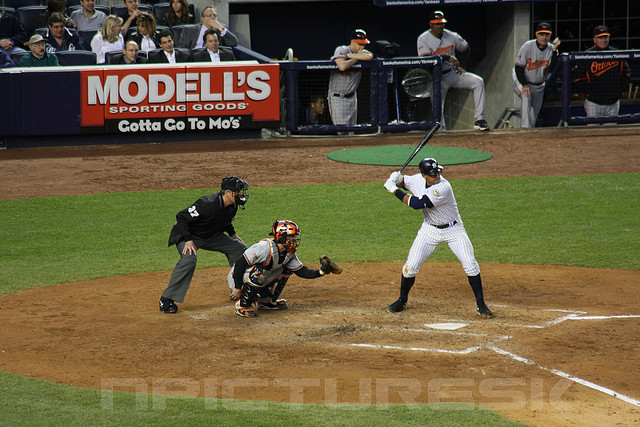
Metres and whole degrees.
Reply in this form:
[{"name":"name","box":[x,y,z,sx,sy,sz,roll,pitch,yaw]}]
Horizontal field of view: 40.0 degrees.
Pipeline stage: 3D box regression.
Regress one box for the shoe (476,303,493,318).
[{"name":"shoe","box":[2.368,1.401,12.721,0.124,0.170,0.300,-9,7,-32]}]

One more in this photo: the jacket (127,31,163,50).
[{"name":"jacket","box":[-4.396,-4.258,21.626,0.853,0.427,0.463,1,9,3]}]

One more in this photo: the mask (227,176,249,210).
[{"name":"mask","box":[-1.215,-0.314,13.021,0.279,0.496,0.609,1,9,0]}]

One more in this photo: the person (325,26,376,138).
[{"name":"person","box":[0.673,-3.233,21.544,1.127,2.438,0.535,1,10,-1]}]

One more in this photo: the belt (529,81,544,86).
[{"name":"belt","box":[5.413,-3.267,22.112,0.308,0.075,0.026,2,10,10]}]

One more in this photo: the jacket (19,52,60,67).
[{"name":"jacket","box":[-6.593,-3.562,20.474,0.603,0.181,0.436,1,3,15]}]

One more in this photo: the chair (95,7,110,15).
[{"name":"chair","box":[-5.767,-5.389,23.350,0.219,0.178,0.204,-8,22,-20]}]

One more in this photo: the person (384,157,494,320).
[{"name":"person","box":[1.662,0.341,12.846,1.498,2.268,0.619,1,10,2]}]

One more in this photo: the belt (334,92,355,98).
[{"name":"belt","box":[0.587,-2.911,21.503,0.507,0.123,0.052,-1,10,-13]}]

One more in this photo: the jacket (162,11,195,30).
[{"name":"jacket","box":[-3.789,-5.053,23.001,0.754,0.398,0.522,4,10,11]}]

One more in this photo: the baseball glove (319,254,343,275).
[{"name":"baseball glove","box":[0.129,0.745,12.845,0.287,0.308,0.336,-1,10,-10]}]

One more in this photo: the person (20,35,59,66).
[{"name":"person","box":[-6.557,-3.728,20.564,0.990,0.713,0.485,0,0,-22]}]

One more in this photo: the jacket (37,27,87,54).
[{"name":"jacket","box":[-6.269,-4.143,21.083,0.976,0.639,0.467,-8,0,-23]}]

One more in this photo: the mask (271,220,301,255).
[{"name":"mask","box":[-0.529,0.307,12.721,0.476,0.411,0.353,9,7,23]}]

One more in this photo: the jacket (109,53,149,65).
[{"name":"jacket","box":[-4.576,-3.696,20.967,0.923,0.271,0.321,-1,10,-12]}]

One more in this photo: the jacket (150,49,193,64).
[{"name":"jacket","box":[-3.575,-3.765,21.079,1.027,0.345,0.505,-1,9,-13]}]

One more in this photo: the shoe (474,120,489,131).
[{"name":"shoe","box":[4.180,-2.308,22.821,0.311,0.278,0.483,-1,9,-8]}]

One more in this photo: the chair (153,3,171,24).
[{"name":"chair","box":[-4.282,-5.360,23.480,0.609,0.651,0.583,-1,18,-6]}]

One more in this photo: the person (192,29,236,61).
[{"name":"person","box":[-2.668,-4.066,21.643,1.318,0.862,0.593,-5,11,-22]}]

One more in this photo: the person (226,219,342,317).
[{"name":"person","box":[-0.499,0.787,12.924,1.644,1.237,0.942,1,2,-12]}]

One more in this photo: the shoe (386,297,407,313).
[{"name":"shoe","box":[1.139,1.341,13.035,0.137,0.146,0.381,29,23,30]}]

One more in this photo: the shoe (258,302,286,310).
[{"name":"shoe","box":[-0.740,1.389,13.221,0.382,0.147,0.138,0,2,3]}]

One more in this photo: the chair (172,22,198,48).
[{"name":"chair","box":[-3.427,-4.594,22.515,0.707,0.710,0.615,-3,11,-10]}]

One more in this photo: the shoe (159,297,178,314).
[{"name":"shoe","box":[-2.253,1.358,12.942,0.161,0.140,0.322,-2,3,-38]}]

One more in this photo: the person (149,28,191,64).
[{"name":"person","box":[-3.652,-3.949,21.189,1.261,0.797,0.592,-10,13,-20]}]

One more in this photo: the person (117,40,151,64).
[{"name":"person","box":[-4.389,-3.768,20.816,0.841,0.439,0.564,-3,0,-17]}]
